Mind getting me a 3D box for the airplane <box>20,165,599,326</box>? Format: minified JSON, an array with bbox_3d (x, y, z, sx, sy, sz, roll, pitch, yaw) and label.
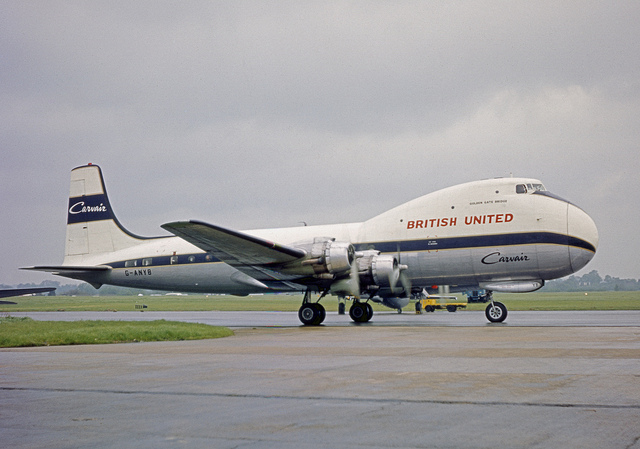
[{"bbox_3d":[0.757,1.042,31.515,15.503,3.001,13.525,-2,-2,21],"label":"airplane"}]
